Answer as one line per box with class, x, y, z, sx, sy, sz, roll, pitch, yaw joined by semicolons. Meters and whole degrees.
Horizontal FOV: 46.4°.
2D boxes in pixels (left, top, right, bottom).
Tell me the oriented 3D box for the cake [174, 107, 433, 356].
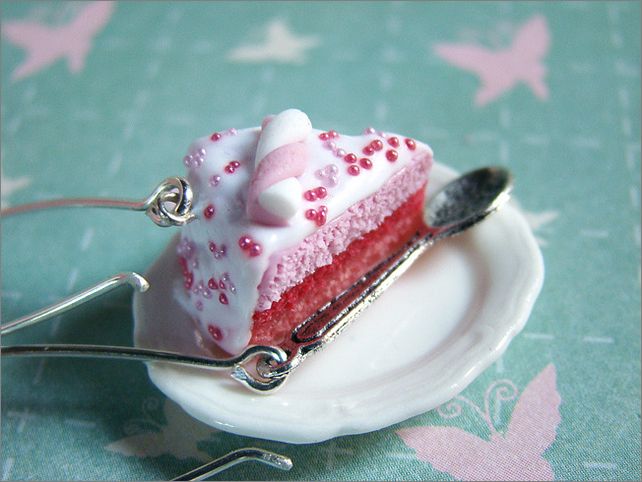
cake;-0.046;-0.065;1.508;0.549;0.345;0.386;-15;50;-26
